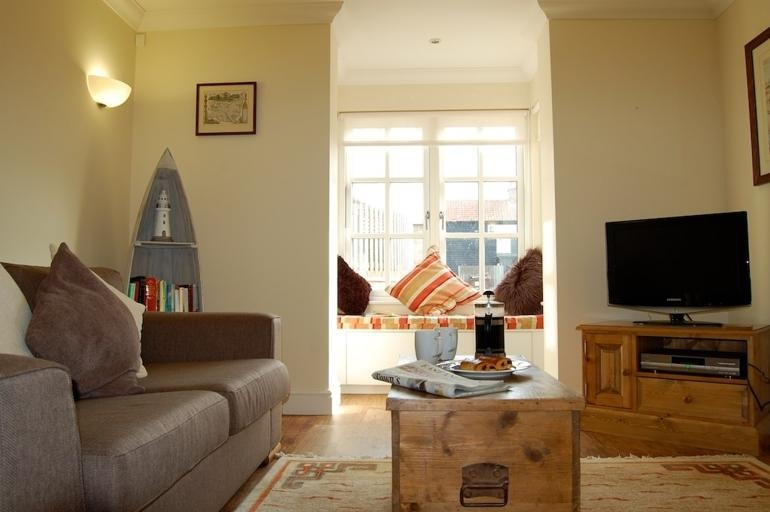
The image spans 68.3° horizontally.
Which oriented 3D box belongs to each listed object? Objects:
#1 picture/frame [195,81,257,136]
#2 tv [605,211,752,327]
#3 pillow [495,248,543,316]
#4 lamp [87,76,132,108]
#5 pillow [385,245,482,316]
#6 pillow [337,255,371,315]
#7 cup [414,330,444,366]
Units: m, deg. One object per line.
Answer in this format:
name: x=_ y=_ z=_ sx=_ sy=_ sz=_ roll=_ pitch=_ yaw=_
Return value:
picture/frame: x=-1.199 y=-1.116 z=4.357 sx=0.411 sy=0.348 sz=0.033 roll=0 pitch=3 yaw=5
tv: x=1.973 y=0.086 z=3.809 sx=0.769 sy=0.670 sz=0.189 roll=-2 pitch=-1 yaw=18
pillow: x=1.212 y=0.254 z=4.991 sx=0.179 sy=0.592 sz=0.424 roll=30 pitch=-3 yaw=-24
lamp: x=-1.962 y=-1.169 z=4.055 sx=0.188 sy=0.201 sz=0.225 roll=1 pitch=4 yaw=16
pillow: x=0.438 y=0.232 z=5.168 sx=0.731 sy=0.574 sz=0.413 roll=2 pitch=5 yaw=33
pillow: x=-0.281 y=0.271 z=5.137 sx=0.283 sy=0.493 sz=0.172 roll=-1 pitch=4 yaw=-5
cup: x=0.223 y=0.470 z=2.937 sx=0.177 sy=0.168 sz=0.115 roll=0 pitch=-4 yaw=5
